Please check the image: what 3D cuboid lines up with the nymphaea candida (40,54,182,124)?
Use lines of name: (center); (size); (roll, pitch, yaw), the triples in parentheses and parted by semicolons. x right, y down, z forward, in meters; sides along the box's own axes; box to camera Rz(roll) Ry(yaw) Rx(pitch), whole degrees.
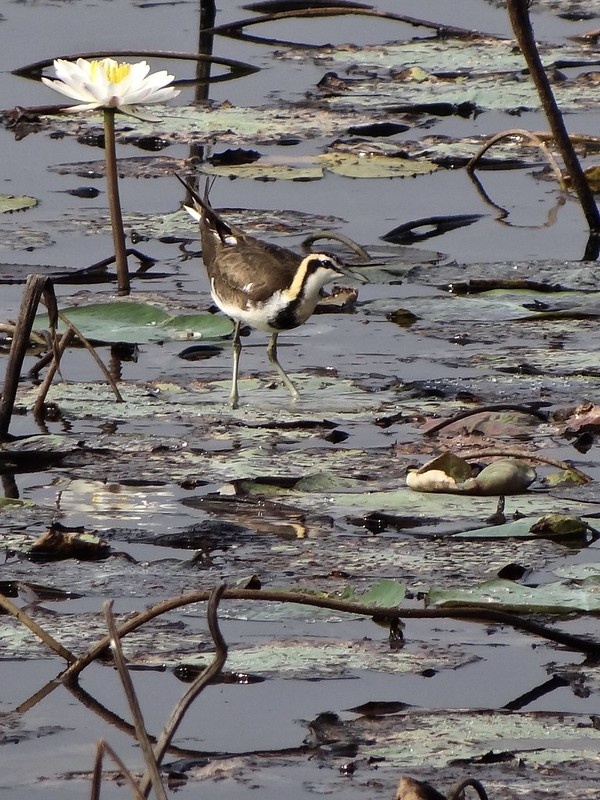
nymphaea candida: (-0.922, -1.558, 5.838); (0.528, 0.159, 0.548); (23, 23, 36)
